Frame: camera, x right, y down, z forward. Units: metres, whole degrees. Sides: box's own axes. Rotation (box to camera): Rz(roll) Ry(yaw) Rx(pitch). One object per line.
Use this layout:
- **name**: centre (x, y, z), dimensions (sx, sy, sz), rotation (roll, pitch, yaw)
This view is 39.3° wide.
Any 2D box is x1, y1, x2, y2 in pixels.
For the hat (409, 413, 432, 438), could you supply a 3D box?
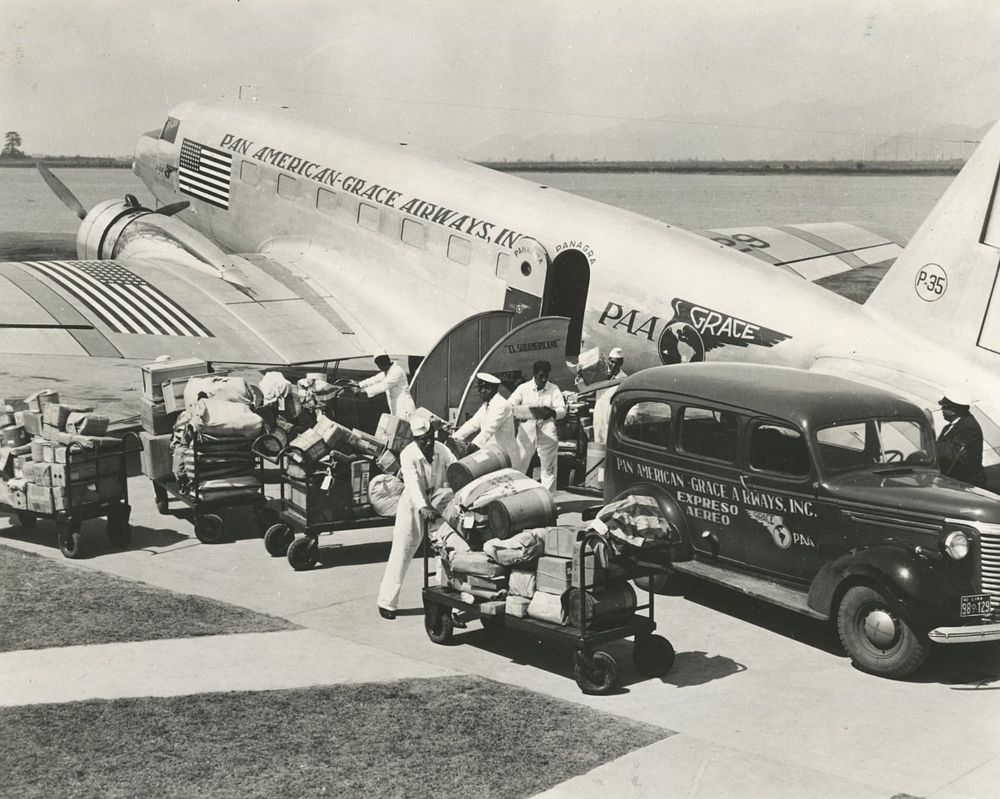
- **hat**: centre (-0.842, 0.277, 15.279), dimensions (0.234, 0.270, 0.607), rotation (5, -2, -3)

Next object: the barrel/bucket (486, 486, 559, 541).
- **barrel/bucket**: centre (0.218, 1.152, 14.413), dimensions (0.741, 0.471, 0.513), rotation (-11, 13, -34)

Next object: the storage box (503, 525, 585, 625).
- **storage box**: centre (0.678, 1.765, 13.883), dimensions (0.866, 0.963, 1.094), rotation (6, -5, -28)

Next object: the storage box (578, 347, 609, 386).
- **storage box**: centre (1.390, -0.480, 20.798), dimensions (0.534, 0.488, 0.166), rotation (-26, 33, -22)

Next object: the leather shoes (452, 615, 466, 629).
- **leather shoes**: centre (-0.414, 2.325, 14.591), dimensions (0.151, 0.145, 0.065), rotation (9, -3, 24)

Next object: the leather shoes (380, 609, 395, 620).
- **leather shoes**: centre (-1.205, 2.321, 15.088), dimensions (0.141, 0.081, 0.103), rotation (-1, 10, 8)

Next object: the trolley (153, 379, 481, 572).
- **trolley**: centre (-2.771, 0.996, 17.680), dimensions (2.109, 1.691, 3.445), rotation (-4, 17, -31)

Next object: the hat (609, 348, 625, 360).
- **hat**: centre (1.705, -0.667, 20.302), dimensions (0.142, 0.133, 0.184), rotation (-3, 4, -23)

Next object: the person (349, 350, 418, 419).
- **person**: centre (-1.690, -0.226, 20.536), dimensions (0.692, 1.104, 0.536), rotation (-23, 34, -11)

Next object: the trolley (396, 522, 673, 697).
- **trolley**: centre (0.487, 1.959, 14.244), dimensions (1.394, 1.422, 2.435), rotation (-2, 7, -45)
